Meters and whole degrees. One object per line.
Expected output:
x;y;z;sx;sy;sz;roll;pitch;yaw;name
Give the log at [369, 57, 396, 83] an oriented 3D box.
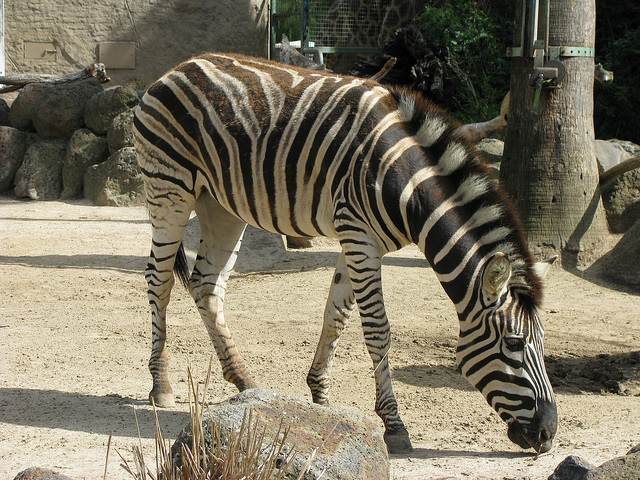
0.750;-1.945;13.873;0.130;0.135;0.582;-25;27;31;log
